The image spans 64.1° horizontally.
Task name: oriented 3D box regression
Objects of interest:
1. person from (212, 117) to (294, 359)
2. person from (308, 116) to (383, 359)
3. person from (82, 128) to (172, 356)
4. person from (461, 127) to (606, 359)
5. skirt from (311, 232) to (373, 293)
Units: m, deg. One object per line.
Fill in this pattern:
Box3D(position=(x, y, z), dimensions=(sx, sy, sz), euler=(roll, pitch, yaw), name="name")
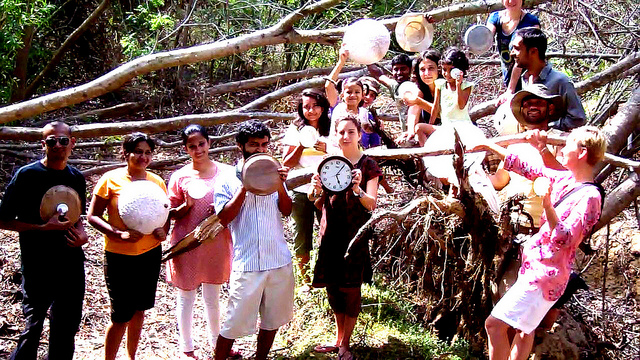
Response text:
Box3D(position=(-0.885, 0.850, 6.862), dimensions=(1.138, 3.243, 1.287), euler=(5, -7, -4), name="person")
Box3D(position=(0.335, 0.791, 6.876), dimensions=(0.859, 3.195, 1.054), euler=(4, -7, 5), name="person")
Box3D(position=(-2.556, 0.857, 6.807), dimensions=(1.019, 3.004, 0.648), euler=(6, -7, -17), name="person")
Box3D(position=(2.658, 0.805, 6.117), dimensions=(1.271, 2.839, 0.718), euler=(1, -8, 27), name="person")
Box3D(position=(0.294, 1.104, 6.807), dimensions=(0.942, 0.944, 0.579), euler=(4, -30, 7), name="skirt")
